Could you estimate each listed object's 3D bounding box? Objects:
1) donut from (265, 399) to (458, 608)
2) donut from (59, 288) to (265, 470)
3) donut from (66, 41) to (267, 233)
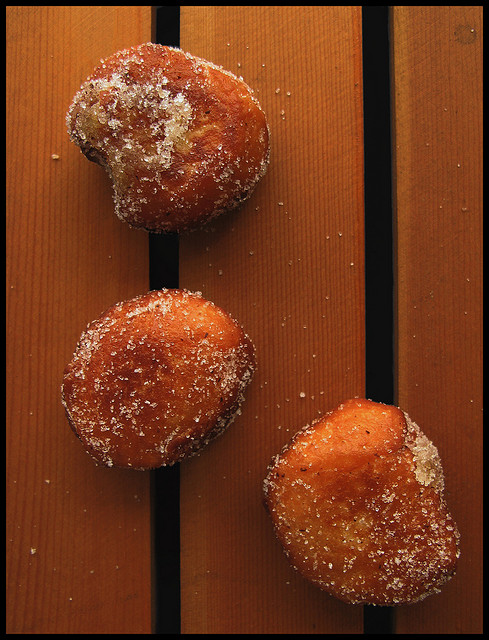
[{"bbox_3d":[0.185,0.290,1.661,0.271,0.130,0.305,-29,67,-3],"label":"donut"},{"bbox_3d":[-0.165,0.059,1.722,0.322,0.102,0.311,13,60,34],"label":"donut"},{"bbox_3d":[-0.108,-0.283,1.690,0.298,0.202,0.244,-23,66,-1],"label":"donut"}]
